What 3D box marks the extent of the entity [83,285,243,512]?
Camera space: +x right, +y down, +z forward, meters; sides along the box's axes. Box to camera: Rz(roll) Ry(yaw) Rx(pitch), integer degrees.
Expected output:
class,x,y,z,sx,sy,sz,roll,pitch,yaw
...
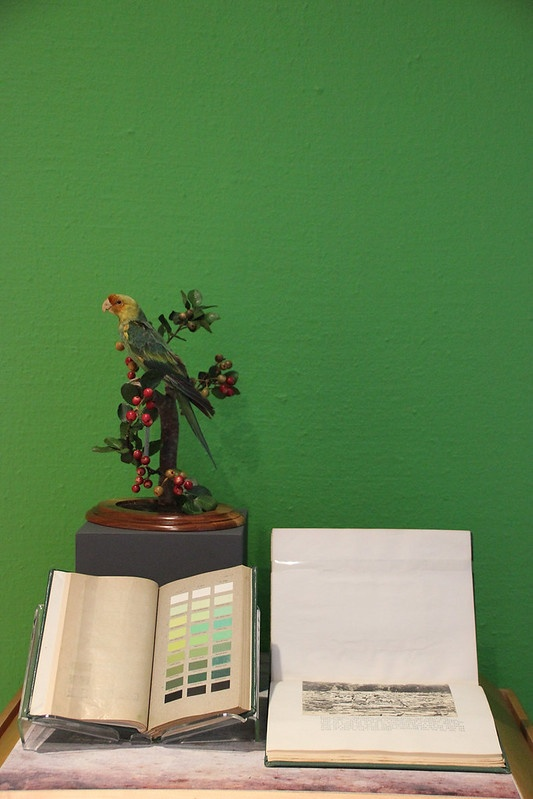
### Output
class,x,y,z,sx,sy,sz,roll,pitch,yaw
entity,-0.148,-0.002,1.192,0.240,0.332,0.178,1,3,-8

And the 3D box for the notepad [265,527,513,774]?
class,x,y,z,sx,sy,sz,roll,pitch,yaw
notepad,0.150,0.320,1.002,0.230,0.264,0.080,0,-32,4

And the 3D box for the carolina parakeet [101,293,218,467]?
class,x,y,z,sx,sy,sz,roll,pitch,yaw
carolina parakeet,-0.165,-0.043,1.149,0.164,0.214,0.086,21,-32,-31
